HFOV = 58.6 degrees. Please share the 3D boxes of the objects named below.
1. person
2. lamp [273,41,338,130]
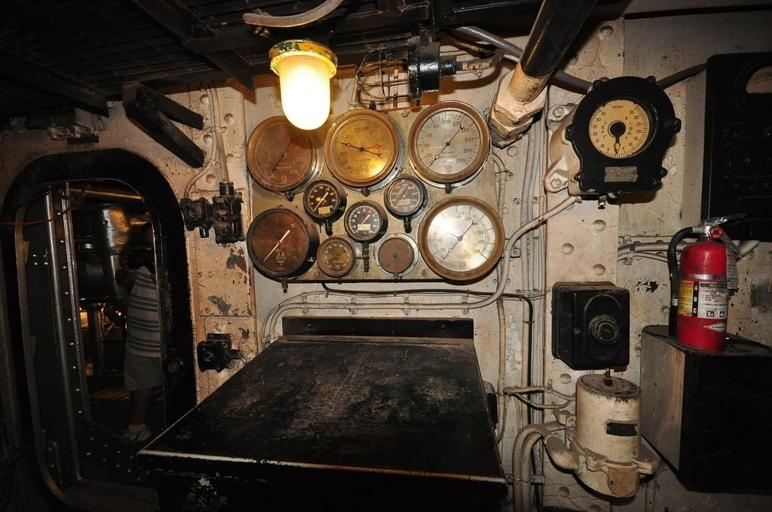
[{"bbox_3d":[-2.629,0.959,7.458,0.368,2.078,0.240,2,-2,-16],"label":"person"},{"bbox_3d":[-0.719,-1.422,5.964,0.614,0.658,0.613,1,-6,-43],"label":"lamp"}]
